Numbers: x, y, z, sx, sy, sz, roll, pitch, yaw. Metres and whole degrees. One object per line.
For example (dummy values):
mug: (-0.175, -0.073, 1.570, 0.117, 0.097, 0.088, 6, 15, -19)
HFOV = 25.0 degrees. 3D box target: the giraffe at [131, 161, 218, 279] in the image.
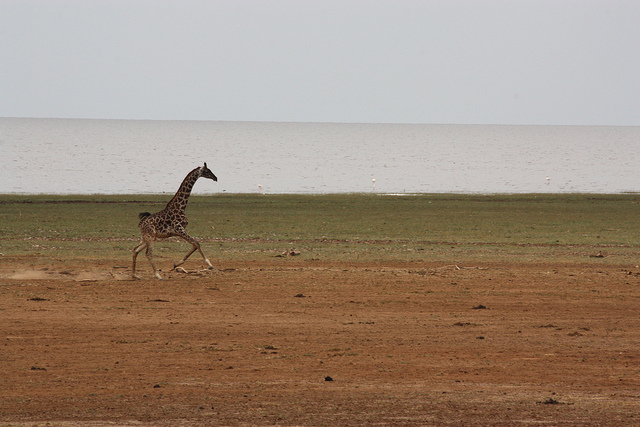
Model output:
giraffe: (-8.399, 0.379, 80.369, 4.239, 6.163, 1.956, -1, 11, -31)
